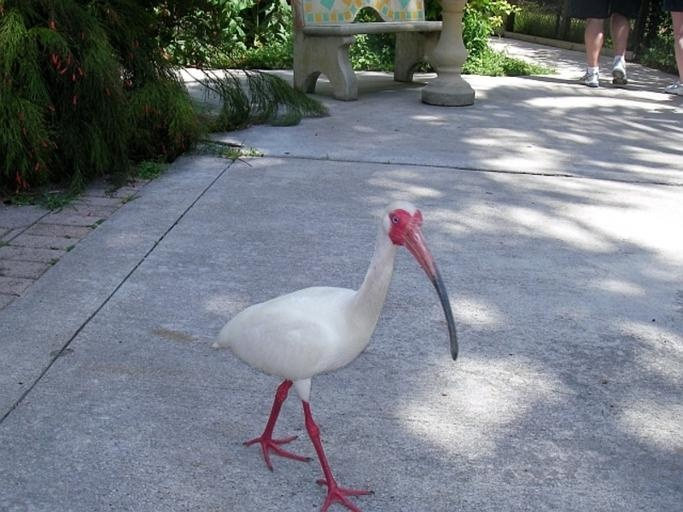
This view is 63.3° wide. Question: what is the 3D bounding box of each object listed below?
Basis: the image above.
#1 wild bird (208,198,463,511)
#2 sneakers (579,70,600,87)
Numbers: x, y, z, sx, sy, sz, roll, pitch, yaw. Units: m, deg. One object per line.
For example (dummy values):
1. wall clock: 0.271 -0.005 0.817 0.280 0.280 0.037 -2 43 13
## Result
1. wild bird: -0.028 0.361 2.143 0.619 1.121 0.875 -15 29 -31
2. sneakers: 4.103 -2.932 9.166 0.154 0.191 0.450 -1 29 7
